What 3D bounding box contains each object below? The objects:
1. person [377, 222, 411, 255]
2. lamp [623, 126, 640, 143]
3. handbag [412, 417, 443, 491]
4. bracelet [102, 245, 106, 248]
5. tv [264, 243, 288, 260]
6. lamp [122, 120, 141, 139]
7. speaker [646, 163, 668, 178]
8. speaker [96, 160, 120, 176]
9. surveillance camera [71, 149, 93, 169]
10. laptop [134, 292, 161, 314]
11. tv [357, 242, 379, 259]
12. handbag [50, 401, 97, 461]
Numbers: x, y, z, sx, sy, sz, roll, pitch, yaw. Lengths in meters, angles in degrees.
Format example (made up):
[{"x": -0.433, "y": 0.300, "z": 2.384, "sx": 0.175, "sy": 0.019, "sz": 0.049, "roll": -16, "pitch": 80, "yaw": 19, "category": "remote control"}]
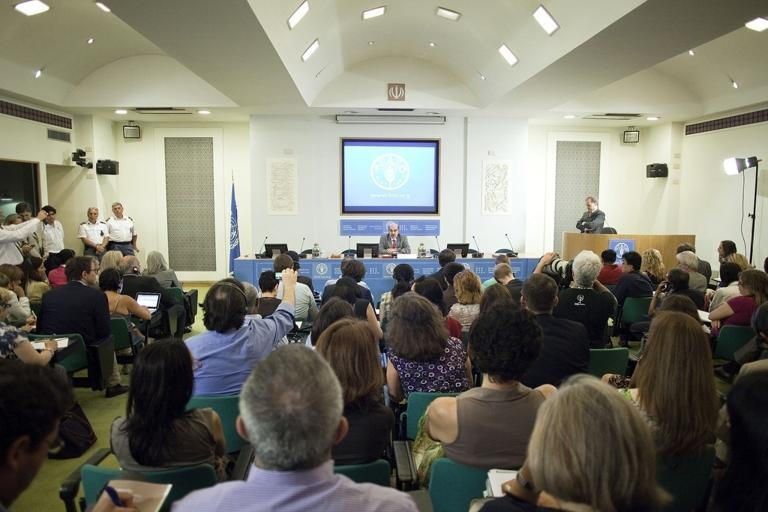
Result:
[{"x": 0.169, "y": -0.254, "z": 9.903, "sx": 0.637, "sy": 0.679, "sz": 0.869, "roll": -3, "pitch": 23, "yaw": -5, "category": "person"}, {"x": 5.545, "y": -2.683, "z": 11.730, "sx": 0.404, "sy": 0.345, "sz": 0.330, "roll": 2, "pitch": 5, "yaw": 4, "category": "lamp"}, {"x": 0.271, "y": 1.163, "z": 3.247, "sx": 0.178, "sy": 0.456, "sz": 0.213, "roll": 2, "pitch": 5, "yaw": 3, "category": "handbag"}, {"x": -5.028, "y": -0.185, "z": 9.506, "sx": 0.048, "sy": 0.077, "sz": 0.047, "roll": 2, "pitch": -4, "yaw": -26, "category": "bracelet"}, {"x": -1.716, "y": -0.078, "z": 8.453, "sx": 0.251, "sy": 0.183, "sz": 0.077, "roll": 1, "pitch": 16, "yaw": 3, "category": "tv"}, {"x": -5.230, "y": -2.633, "z": 11.002, "sx": 0.346, "sy": 0.414, "sz": 0.217, "roll": -1, "pitch": 3, "yaw": -13, "category": "lamp"}, {"x": 5.790, "y": -1.808, "z": 11.171, "sx": 0.392, "sy": 0.348, "sz": 0.284, "roll": 4, "pitch": 12, "yaw": 24, "category": "speaker"}, {"x": -5.494, "y": -1.766, "z": 10.540, "sx": 0.296, "sy": 0.238, "sz": 0.327, "roll": -2, "pitch": 6, "yaw": -10, "category": "speaker"}, {"x": -5.814, "y": -1.884, "z": 10.220, "sx": 0.331, "sy": 0.373, "sz": 0.362, "roll": -1, "pitch": 6, "yaw": -27, "category": "surveillance camera"}, {"x": -2.740, "y": 0.532, "z": 6.124, "sx": 0.241, "sy": 0.152, "sz": 0.218, "roll": 1, "pitch": 1, "yaw": -7, "category": "laptop"}, {"x": -0.268, "y": -0.099, "z": 9.053, "sx": 0.396, "sy": 0.290, "sz": 0.213, "roll": 1, "pitch": 7, "yaw": 2, "category": "tv"}, {"x": -2.497, "y": 1.443, "z": 4.257, "sx": 0.325, "sy": 0.440, "sz": 0.365, "roll": -2, "pitch": 6, "yaw": -33, "category": "handbag"}]
